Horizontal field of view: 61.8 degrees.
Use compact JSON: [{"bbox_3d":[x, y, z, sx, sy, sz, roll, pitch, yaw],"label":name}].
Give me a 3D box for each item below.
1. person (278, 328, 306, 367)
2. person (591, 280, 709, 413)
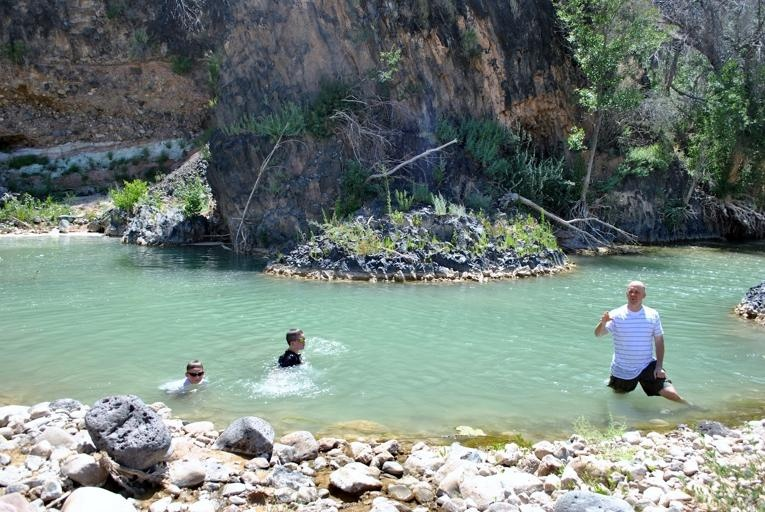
[{"bbox_3d":[-1.766,1.814,12.752,0.418,0.760,0.906,4,4,11],"label":"person"},{"bbox_3d":[4.740,1.571,11.908,1.364,2.182,0.357,1,5,15],"label":"person"}]
